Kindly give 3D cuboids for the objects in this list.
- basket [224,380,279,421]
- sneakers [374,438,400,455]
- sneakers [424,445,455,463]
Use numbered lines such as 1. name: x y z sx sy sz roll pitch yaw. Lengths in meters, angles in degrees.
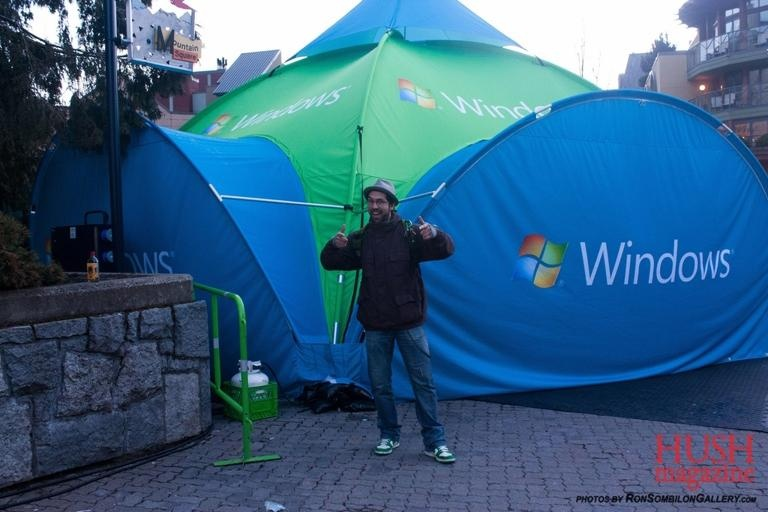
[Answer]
1. basket: -1.611 1.786 7.282 0.487 0.339 0.495 3 4 40
2. sneakers: 0.006 2.015 6.173 0.105 0.135 0.300 -2 -11 21
3. sneakers: 0.554 2.042 6.059 0.307 0.149 0.124 -5 -6 44
